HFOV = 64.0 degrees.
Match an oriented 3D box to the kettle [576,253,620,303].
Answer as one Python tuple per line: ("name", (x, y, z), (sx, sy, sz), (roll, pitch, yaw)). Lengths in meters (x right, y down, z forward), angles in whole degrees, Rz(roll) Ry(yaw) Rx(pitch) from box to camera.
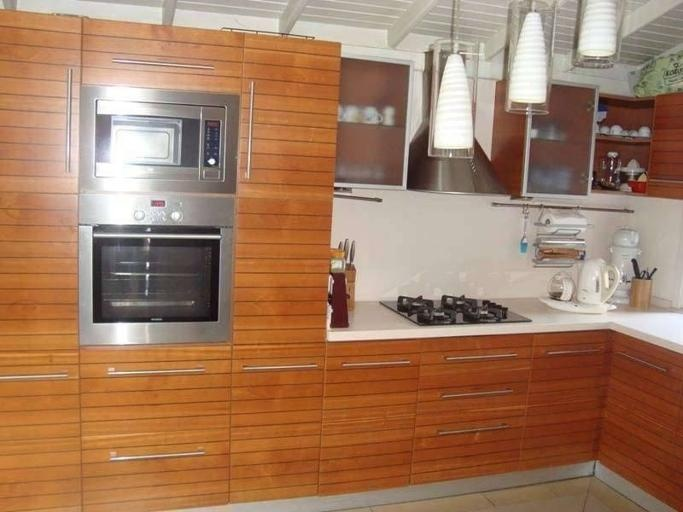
("kettle", (1.817, 0.182, 3.868), (0.289, 0.321, 0.155), (2, 4, 36))

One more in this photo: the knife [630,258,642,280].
("knife", (2.297, 0.105, 4.257), (0.050, 0.167, 0.041), (13, -36, -10))

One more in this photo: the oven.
("oven", (-1.046, 0.043, 3.323), (0.869, 0.764, 0.814), (1, 7, -15))

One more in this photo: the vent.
("vent", (0.667, -0.710, 3.424), (0.591, 0.962, 0.564), (2, 12, -12))

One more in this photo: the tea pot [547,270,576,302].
("tea pot", (1.605, 0.221, 3.970), (0.219, 0.213, 0.211), (1, 3, 0))
